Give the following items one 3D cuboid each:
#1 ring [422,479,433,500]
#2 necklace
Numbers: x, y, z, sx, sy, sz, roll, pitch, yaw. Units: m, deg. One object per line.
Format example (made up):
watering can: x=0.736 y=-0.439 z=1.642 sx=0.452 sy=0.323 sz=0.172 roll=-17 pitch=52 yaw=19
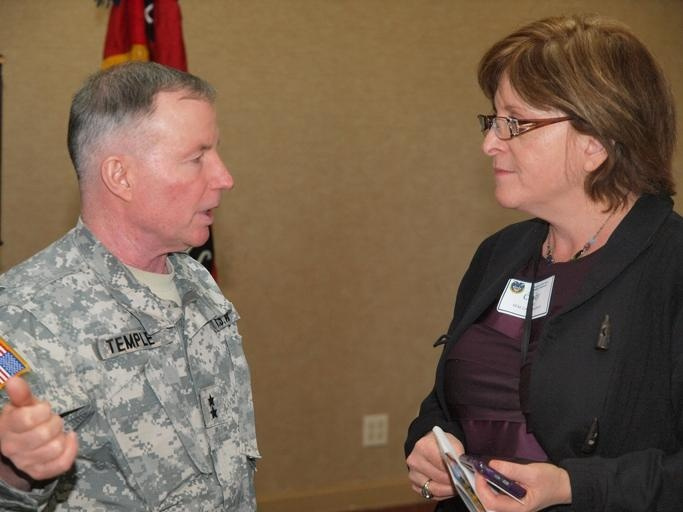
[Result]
ring: x=0.236 y=0.649 z=2.291 sx=0.027 sy=0.051 sz=0.039 roll=-10 pitch=11 yaw=6
necklace: x=0.672 y=-0.059 z=2.237 sx=0.203 sy=0.052 sz=0.153 roll=-49 pitch=27 yaw=16
